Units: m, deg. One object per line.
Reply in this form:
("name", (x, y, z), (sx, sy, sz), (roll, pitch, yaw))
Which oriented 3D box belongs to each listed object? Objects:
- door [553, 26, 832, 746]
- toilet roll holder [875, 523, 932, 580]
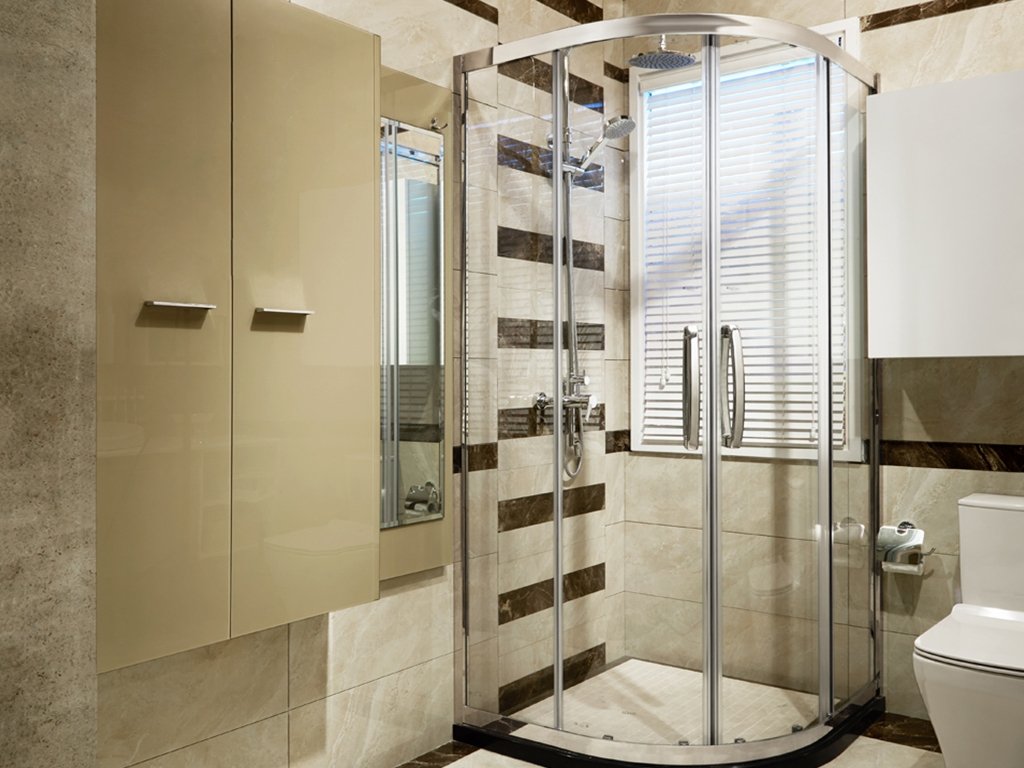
("door", (0.732, 0.018, 2.828), (0.723, 2.256, 0.216), (0, 1, -19))
("toilet roll holder", (1.484, 0.636, 3.255), (0.201, 0.229, 0.110), (0, -1, 36))
